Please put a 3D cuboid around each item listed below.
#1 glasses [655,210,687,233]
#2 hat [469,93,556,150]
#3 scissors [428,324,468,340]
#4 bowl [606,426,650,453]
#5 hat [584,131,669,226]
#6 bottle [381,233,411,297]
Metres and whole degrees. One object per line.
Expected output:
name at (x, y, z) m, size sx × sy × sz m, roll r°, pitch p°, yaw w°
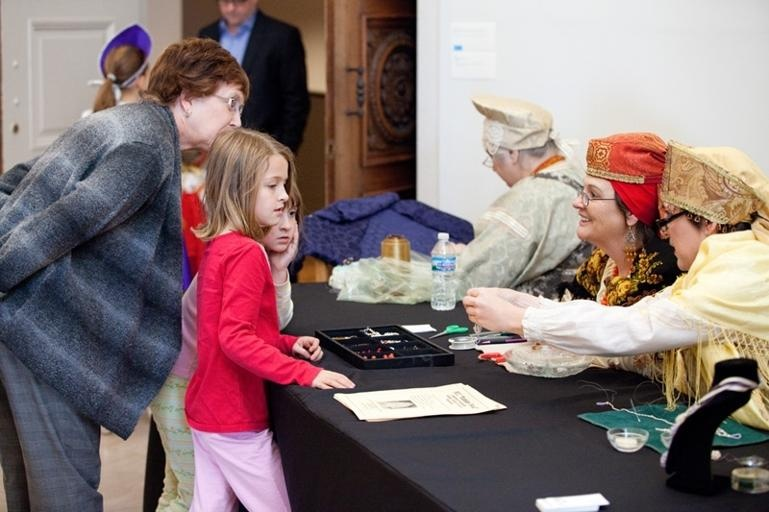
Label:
glasses at (0.773, -0.098, 1.678) m, size 0.054 × 0.015 × 0.053 m, roll -28°, pitch -5°, yaw -4°
hat at (0.598, -0.617, 2.872) m, size 0.355 × 0.240 × 0.297 m, roll 7°, pitch 25°, yaw 24°
scissors at (0.226, 0.261, 2.138) m, size 0.120 × 0.013 × 0.051 m, roll -8°, pitch 9°, yaw -36°
bowl at (0.561, 0.420, 1.437) m, size 0.104 × 0.029 × 0.077 m, roll -8°, pitch 13°, yaw -37°
hat at (0.747, -0.244, 1.960) m, size 0.255 × 0.252 × 0.254 m, roll 1°, pitch 6°, yaw 29°
bottle at (0.044, 0.035, 2.751) m, size 0.121 × 0.286 × 0.121 m, roll 1°, pitch 28°, yaw 0°
